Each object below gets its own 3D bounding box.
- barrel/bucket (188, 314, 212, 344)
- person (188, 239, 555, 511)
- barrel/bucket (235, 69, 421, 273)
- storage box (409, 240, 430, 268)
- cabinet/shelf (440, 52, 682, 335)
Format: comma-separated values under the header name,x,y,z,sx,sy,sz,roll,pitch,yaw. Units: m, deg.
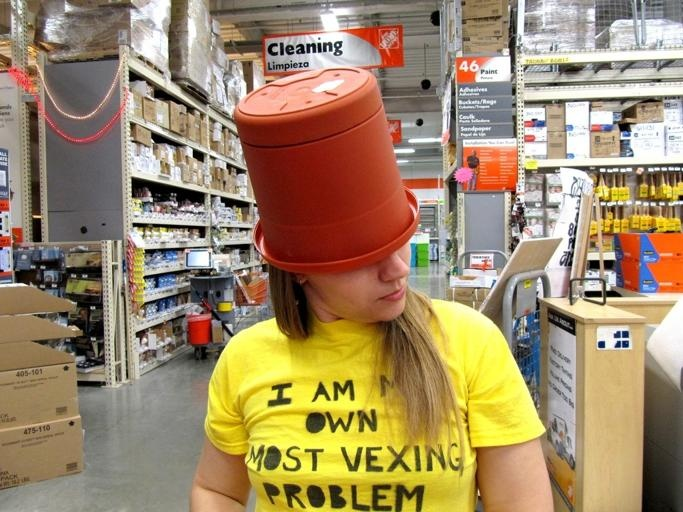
name,x,y,z,sx,sy,sz,roll,pitch,yaw
barrel/bucket,-1.534,0.809,6.743,0.268,0.306,0.286,-1,-1,0
person,0.177,0.497,2.472,1.398,1.564,0.788,-2,-5,7
barrel/bucket,-0.027,-0.283,2.226,0.621,0.582,0.653,-16,24,7
storage box,2.585,-0.057,19.571,0.501,0.997,0.946,1,1,3
cabinet/shelf,1.916,-0.639,5.103,2.120,2.440,0.777,-1,4,3
